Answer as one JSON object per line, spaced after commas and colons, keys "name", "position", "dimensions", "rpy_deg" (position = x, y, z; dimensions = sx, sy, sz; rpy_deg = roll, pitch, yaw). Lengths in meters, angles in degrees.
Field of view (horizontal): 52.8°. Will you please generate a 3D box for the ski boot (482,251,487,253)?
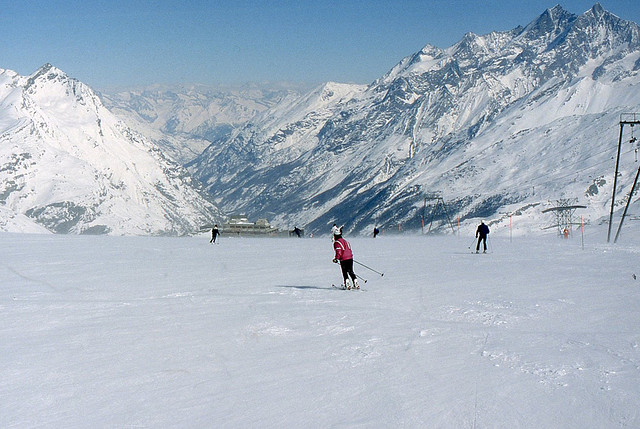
{"name": "ski boot", "position": [11.983, 2.714, 47.257], "dimensions": [0.187, 0.178, 0.335], "rpy_deg": [-2, -8, 21]}
